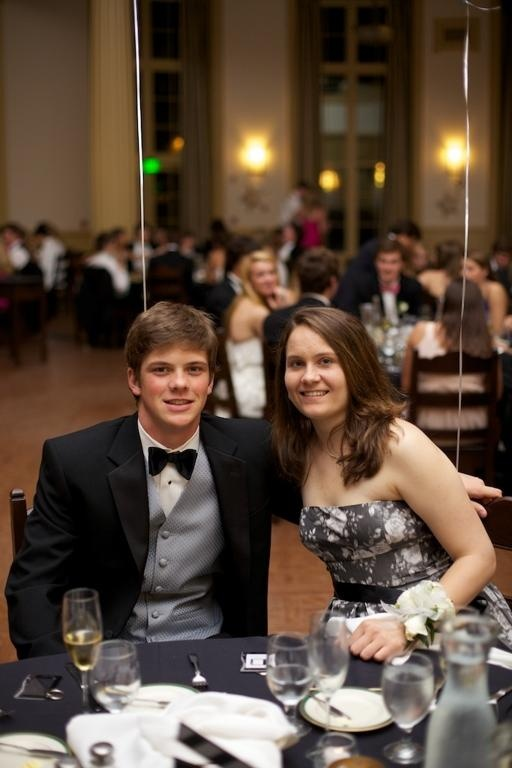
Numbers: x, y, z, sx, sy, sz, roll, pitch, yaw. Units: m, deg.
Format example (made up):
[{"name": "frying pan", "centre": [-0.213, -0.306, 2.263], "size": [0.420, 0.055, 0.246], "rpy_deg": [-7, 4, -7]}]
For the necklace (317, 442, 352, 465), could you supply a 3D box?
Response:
[{"name": "necklace", "centre": [0.177, 0.159, 1.528], "size": [0.038, 0.027, 0.051], "rpy_deg": [15, 1, -20]}]

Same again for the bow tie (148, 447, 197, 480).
[{"name": "bow tie", "centre": [-0.195, 0.185, 1.539], "size": [0.071, 0.051, 0.017], "rpy_deg": [8, -4, -8]}]
